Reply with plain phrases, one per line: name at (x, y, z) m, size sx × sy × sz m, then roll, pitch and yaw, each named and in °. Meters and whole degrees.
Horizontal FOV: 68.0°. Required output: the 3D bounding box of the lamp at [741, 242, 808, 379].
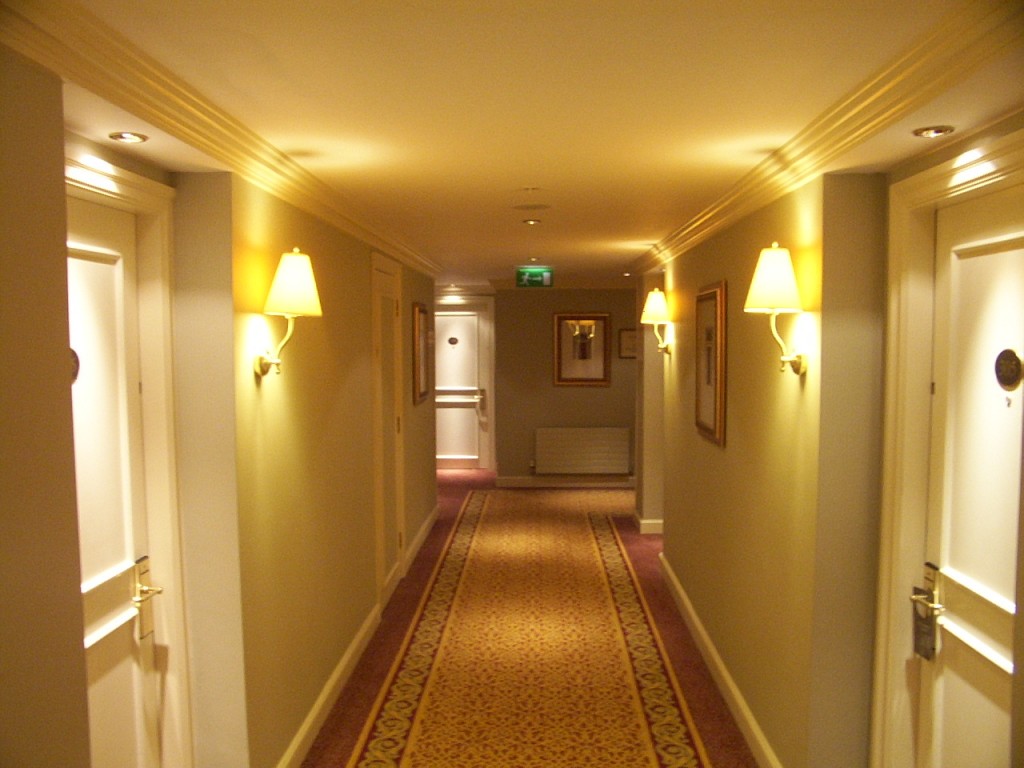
lamp at (1.111, -0.321, 3.233) m, size 0.243 × 0.583 × 0.401 m, roll 1°, pitch 6°, yaw 10°

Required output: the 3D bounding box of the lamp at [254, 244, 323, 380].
lamp at (-0.981, -0.299, 3.330) m, size 0.261 × 0.577 × 0.409 m, roll -1°, pitch 6°, yaw -9°

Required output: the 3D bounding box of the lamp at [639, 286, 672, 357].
lamp at (1.127, -0.465, 5.879) m, size 0.242 × 0.532 × 0.188 m, roll 5°, pitch 12°, yaw 14°

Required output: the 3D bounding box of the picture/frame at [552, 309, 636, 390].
picture/frame at (0.942, -0.444, 9.077) m, size 0.907 × 1.219 × 0.092 m, roll 0°, pitch 1°, yaw -4°

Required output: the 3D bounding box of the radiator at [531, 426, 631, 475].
radiator at (0.852, 0.839, 9.080) m, size 1.153 × 0.587 × 0.132 m, roll 0°, pitch 6°, yaw 0°
